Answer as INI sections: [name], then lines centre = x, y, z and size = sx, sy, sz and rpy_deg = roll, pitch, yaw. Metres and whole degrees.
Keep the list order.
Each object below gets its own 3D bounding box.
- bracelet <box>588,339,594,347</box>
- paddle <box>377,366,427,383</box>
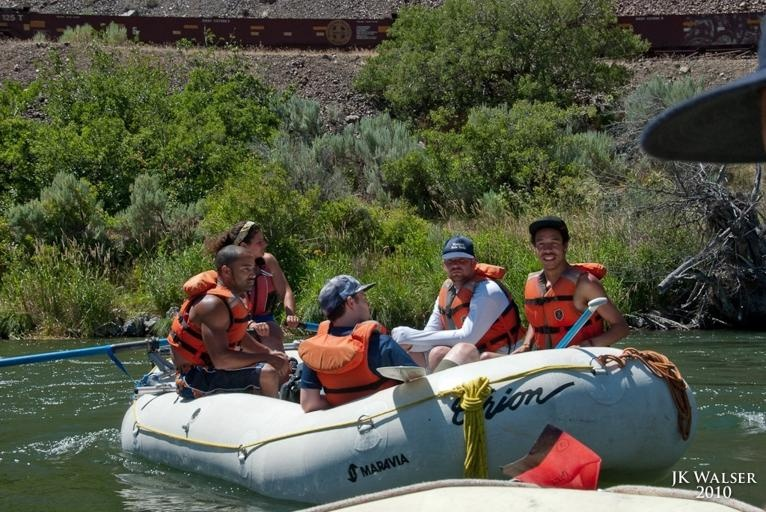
[bracelet]
centre = 3.899, 1.636, 21.493
size = 0.076, 0.127, 0.032
rpy_deg = 6, -4, 11
[paddle]
centre = 0.335, 2.164, 20.929
size = 0.881, 0.362, 0.487
rpy_deg = -3, 5, 0
